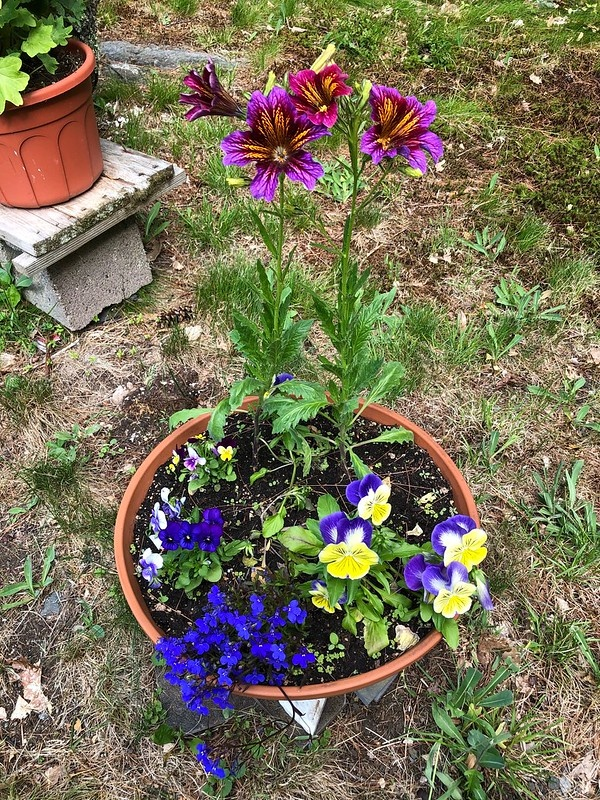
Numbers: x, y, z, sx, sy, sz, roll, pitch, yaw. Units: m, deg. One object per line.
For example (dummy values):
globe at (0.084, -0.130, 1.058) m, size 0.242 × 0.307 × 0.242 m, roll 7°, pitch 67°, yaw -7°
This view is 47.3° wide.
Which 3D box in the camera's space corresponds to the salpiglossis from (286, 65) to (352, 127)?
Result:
salpiglossis at (0.041, -0.604, 1.361) m, size 0.122 × 0.110 × 0.087 m, roll -4°, pitch 39°, yaw 1°

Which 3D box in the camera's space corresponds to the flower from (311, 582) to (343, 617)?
flower at (0.052, 0.487, 1.675) m, size 0.038 × 0.099 × 0.085 m, roll -15°, pitch 40°, yaw -12°

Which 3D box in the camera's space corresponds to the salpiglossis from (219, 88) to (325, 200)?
salpiglossis at (-0.052, -0.513, 1.368) m, size 0.227 × 0.216 × 0.066 m, roll -18°, pitch 24°, yaw 9°

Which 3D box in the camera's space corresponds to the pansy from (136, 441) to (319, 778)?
pansy at (-0.217, 0.557, 1.859) m, size 0.394 × 0.655 × 0.764 m, roll -18°, pitch 40°, yaw -16°

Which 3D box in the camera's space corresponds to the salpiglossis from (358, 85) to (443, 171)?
salpiglossis at (0.215, -0.553, 1.413) m, size 0.144 × 0.183 × 0.219 m, roll 9°, pitch 40°, yaw 17°

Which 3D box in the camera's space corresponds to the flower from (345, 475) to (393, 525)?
flower at (0.178, 0.260, 1.675) m, size 0.043 × 0.116 × 0.109 m, roll -18°, pitch 8°, yaw -12°
